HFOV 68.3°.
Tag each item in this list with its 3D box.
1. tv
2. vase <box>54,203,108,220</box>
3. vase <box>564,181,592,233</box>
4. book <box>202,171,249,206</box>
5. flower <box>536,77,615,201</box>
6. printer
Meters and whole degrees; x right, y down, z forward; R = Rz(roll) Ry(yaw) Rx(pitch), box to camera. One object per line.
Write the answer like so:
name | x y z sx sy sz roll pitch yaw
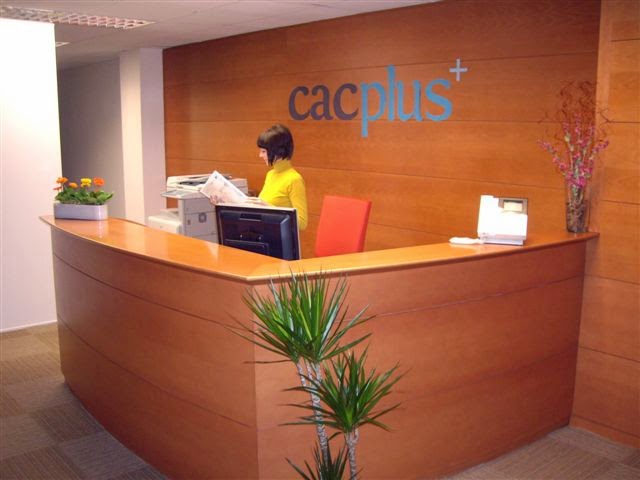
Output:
tv | -0.399 -0.057 2.853 0.578 0.305 0.096 8 16 27
vase | -1.816 -0.215 3.548 0.432 0.117 0.141 3 14 8
vase | 1.713 -0.205 3.137 0.167 0.332 0.123 4 15 15
book | -0.671 -0.330 3.281 0.305 0.223 0.092 39 1 -11
flower | 1.716 -0.723 3.234 0.365 0.709 0.558 2 14 6
printer | -1.296 -0.243 4.623 0.494 0.735 0.666 20 19 37
